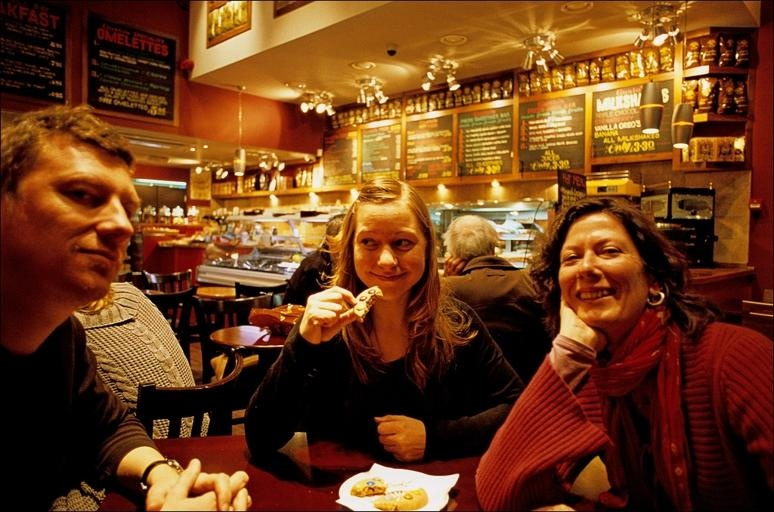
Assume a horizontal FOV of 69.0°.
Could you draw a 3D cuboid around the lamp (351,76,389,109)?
[{"bbox_3d":[-0.175,-1.879,6.456,0.484,0.418,0.188,-2,-6,6],"label":"lamp"}]
